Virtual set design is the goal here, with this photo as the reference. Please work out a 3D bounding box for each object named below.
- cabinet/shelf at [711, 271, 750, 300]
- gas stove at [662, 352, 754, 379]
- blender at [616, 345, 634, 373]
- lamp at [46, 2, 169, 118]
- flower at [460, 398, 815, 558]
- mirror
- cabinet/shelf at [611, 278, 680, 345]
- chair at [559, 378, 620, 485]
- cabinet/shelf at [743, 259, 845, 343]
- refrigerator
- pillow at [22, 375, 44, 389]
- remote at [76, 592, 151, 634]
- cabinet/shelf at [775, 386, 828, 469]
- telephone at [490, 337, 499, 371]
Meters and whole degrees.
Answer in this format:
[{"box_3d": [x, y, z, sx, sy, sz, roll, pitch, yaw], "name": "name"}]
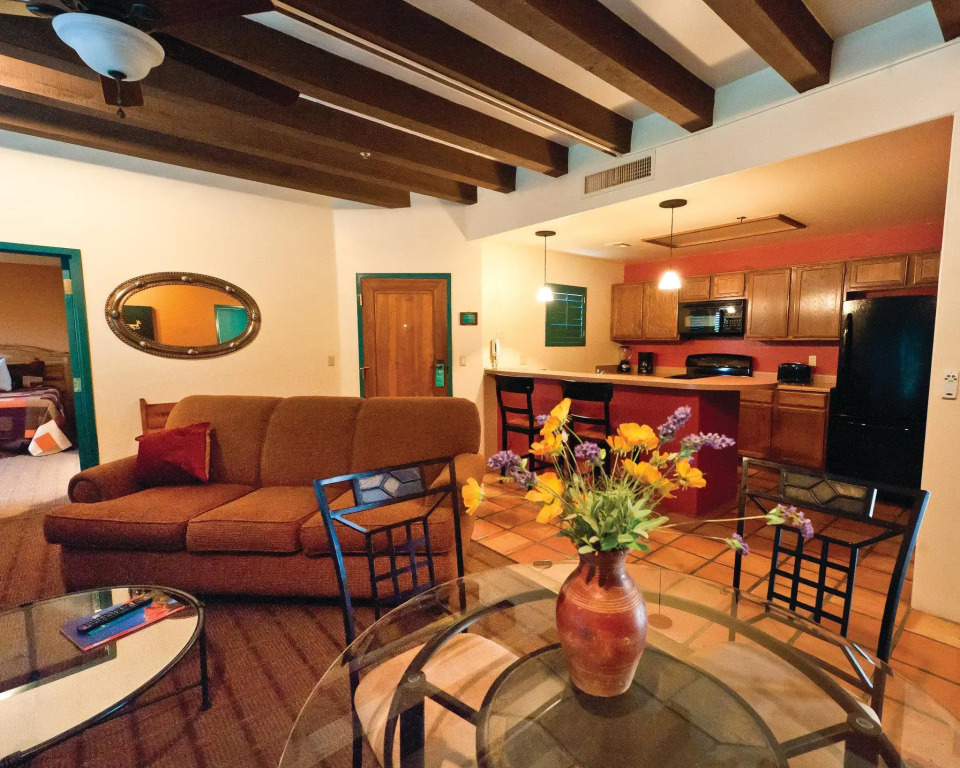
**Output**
[{"box_3d": [2.411, -0.935, 6.845, 0.223, 0.378, 0.418, 4, 0, -17], "name": "cabinet/shelf"}, {"box_3d": [2.384, -0.197, 7.119, 0.362, 0.231, 0.730, -6, 6, -28], "name": "gas stove"}, {"box_3d": [1.676, -0.284, 8.075, 0.182, 0.319, 0.308, -1, 6, 14], "name": "blender"}, {"box_3d": [-1.663, -1.462, 3.154, 0.521, 0.311, 0.502, -2, -19, -13], "name": "lamp"}, {"box_3d": [0.513, 0.445, 2.557, 1.011, 0.362, 0.791, 10, 7, 28], "name": "flower"}, {"box_3d": [-2.389, -0.538, 5.461, 0.792, 0.503, 0.080, -2, -4, -41], "name": "mirror"}, {"box_3d": [1.768, -0.819, 7.810, 0.857, 0.640, 0.306, -5, 7, -20], "name": "cabinet/shelf"}, {"box_3d": [0.959, 0.353, 5.103, 0.465, 0.746, 0.460, -7, 6, -38], "name": "chair"}, {"box_3d": [2.852, -0.745, 6.248, 0.354, 0.799, 0.890, -2, 4, -35], "name": "cabinet/shelf"}, {"box_3d": [2.931, 0.108, 5.177, 0.773, 1.363, 0.798, 20, -13, -38], "name": "refrigerator"}, {"box_3d": [-4.810, -0.022, 7.456, 0.211, 0.109, 0.142, 11, -10, -32], "name": "pillow"}, {"box_3d": [-1.639, 1.027, 3.121, 0.108, 0.034, 0.207, 3, 10, 31], "name": "remote"}, {"box_3d": [2.877, 0.339, 6.118, 0.406, 0.729, 0.462, 8, 19, 37], "name": "cabinet/shelf"}, {"box_3d": [0.146, -0.287, 6.568, 0.061, 0.265, 0.142, 1, 7, 30], "name": "telephone"}]
